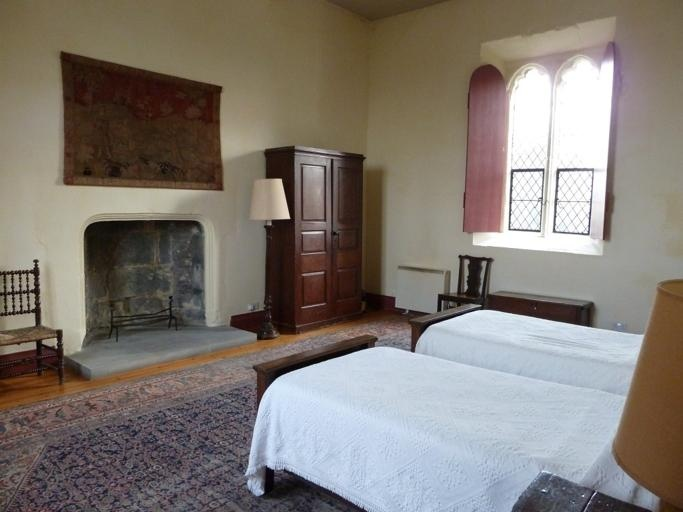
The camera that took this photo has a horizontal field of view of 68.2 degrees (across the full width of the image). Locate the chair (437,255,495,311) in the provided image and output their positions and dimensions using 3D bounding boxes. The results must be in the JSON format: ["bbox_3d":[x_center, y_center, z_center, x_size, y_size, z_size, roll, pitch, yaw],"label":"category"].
[{"bbox_3d":[1.541,0.457,6.408,0.579,0.941,0.545,7,1,21],"label":"chair"}]

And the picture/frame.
[{"bbox_3d":[-2.077,-1.354,5.368,1.580,1.212,0.042,-2,8,-36],"label":"picture/frame"}]
